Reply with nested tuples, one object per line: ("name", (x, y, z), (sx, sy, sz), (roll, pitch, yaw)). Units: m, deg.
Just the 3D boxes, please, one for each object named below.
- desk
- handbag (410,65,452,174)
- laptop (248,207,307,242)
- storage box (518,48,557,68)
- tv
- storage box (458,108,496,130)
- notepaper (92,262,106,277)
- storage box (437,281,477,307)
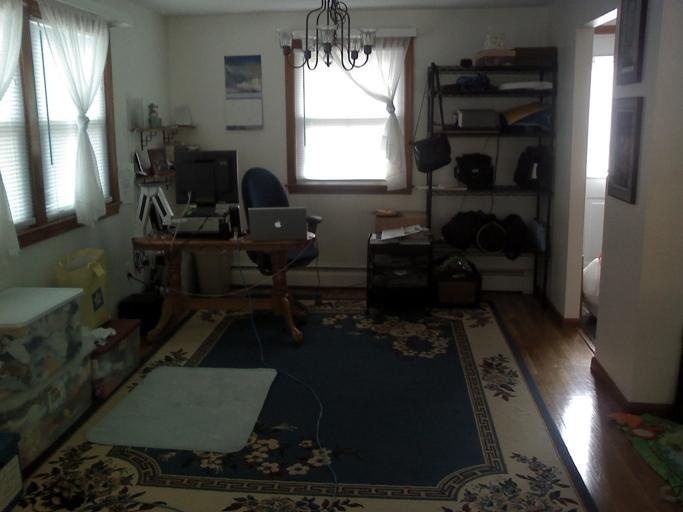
("desk", (-0.999, 0.232, 4.798), (1.427, 0.850, 0.825), (0, 12, -8))
("handbag", (0.815, -1.215, 4.933), (0.364, 0.985, 0.091), (-13, 38, -6))
("laptop", (-0.507, -0.252, 4.316), (0.373, 0.262, 0.275), (1, 8, 0))
("storage box", (1.788, -1.818, 4.987), (0.366, 0.185, 0.071), (0, 16, 10))
("tv", (-1.113, -0.596, 4.481), (0.500, 0.500, 0.173), (3, 23, -2))
("storage box", (1.260, -1.265, 5.039), (0.255, 0.134, 0.197), (1, 11, 5))
("notepaper", (-1.808, 0.108, 4.036), (0.019, 0.080, 0.083), (-17, 11, 29))
("storage box", (1.093, 0.362, 5.152), (0.388, 0.271, 0.219), (0, 6, 1))
